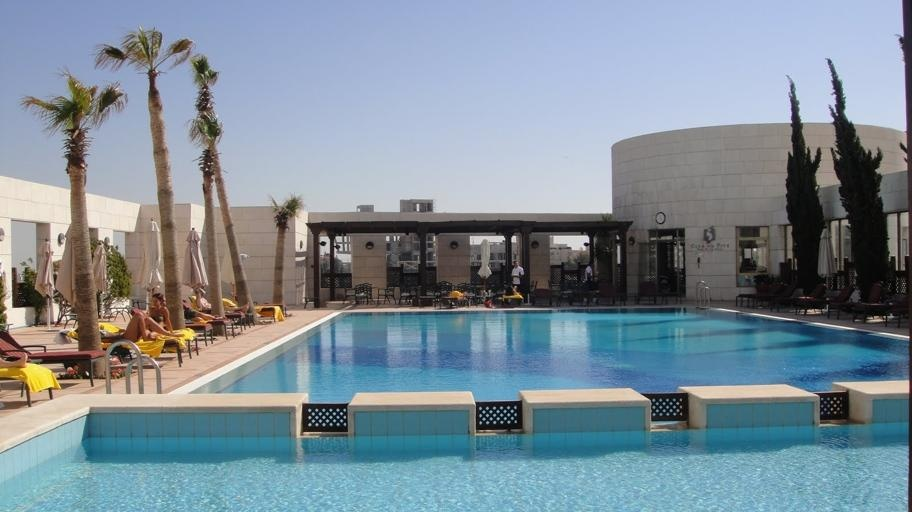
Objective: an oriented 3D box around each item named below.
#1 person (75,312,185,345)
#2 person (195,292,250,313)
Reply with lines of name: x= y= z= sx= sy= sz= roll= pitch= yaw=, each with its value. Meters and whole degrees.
person: x=-9.089 y=2.094 z=19.500 sx=1.740 sy=0.560 sz=1.420 roll=-4 pitch=-5 yaw=12
person: x=-8.983 y=1.864 z=26.576 sx=1.741 sy=0.583 sz=1.264 roll=0 pitch=-3 yaw=-6
